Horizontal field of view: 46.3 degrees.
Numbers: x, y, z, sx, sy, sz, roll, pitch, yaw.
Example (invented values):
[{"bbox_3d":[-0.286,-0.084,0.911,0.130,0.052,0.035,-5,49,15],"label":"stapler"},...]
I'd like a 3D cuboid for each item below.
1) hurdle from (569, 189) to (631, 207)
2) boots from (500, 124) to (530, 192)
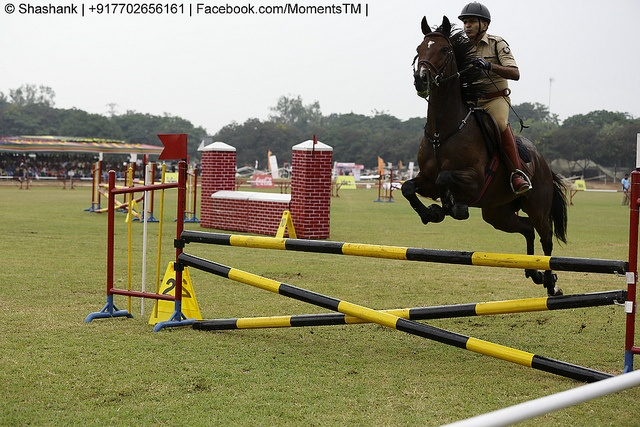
[{"bbox_3d":[11.859,-0.643,31.864,2.960,1.126,0.781,0,11,12],"label":"hurdle"},{"bbox_3d":[2.105,-0.639,8.187,0.185,0.776,0.345,-13,-3,10],"label":"boots"}]
